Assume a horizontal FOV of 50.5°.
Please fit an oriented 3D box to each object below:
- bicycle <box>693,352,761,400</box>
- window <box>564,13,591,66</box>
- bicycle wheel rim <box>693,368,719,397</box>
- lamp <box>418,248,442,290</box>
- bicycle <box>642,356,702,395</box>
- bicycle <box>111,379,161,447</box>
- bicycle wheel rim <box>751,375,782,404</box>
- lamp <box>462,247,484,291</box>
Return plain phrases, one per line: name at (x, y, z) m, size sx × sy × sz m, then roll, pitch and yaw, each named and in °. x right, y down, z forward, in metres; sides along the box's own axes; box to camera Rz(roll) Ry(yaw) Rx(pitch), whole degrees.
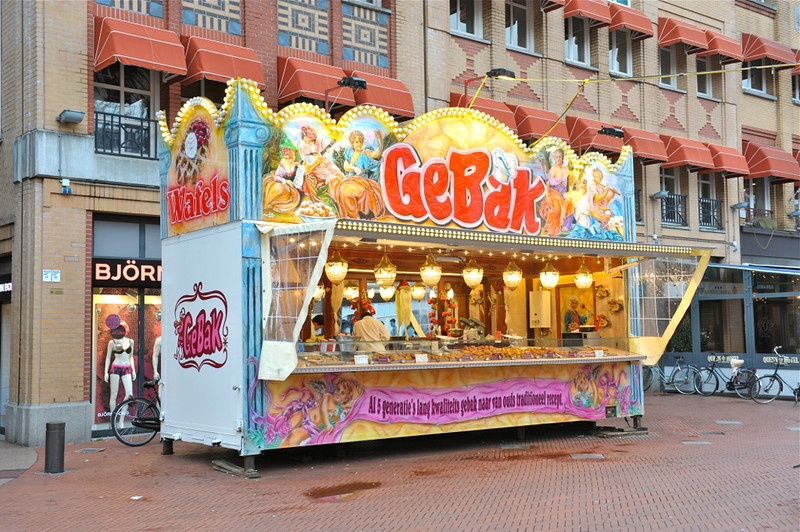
bicycle at (10.355, 3.522, 26.659) m, size 0.920 × 1.144 × 1.828 m, roll 6°, pitch -2°, yaw -42°
window at (5.756, -7.477, 27.871) m, size 1.683 × 1.932 × 0.134 m, roll 7°, pitch -13°, yaw -41°
bicycle wheel rim at (9.712, 3.710, 26.934) m, size 0.119 × 0.910 × 0.845 m, roll -2°, pitch 4°, yaw -37°
lamp at (0.820, 0.142, 19.808) m, size 0.665 × 1.026 × 0.684 m, roll 0°, pitch 1°, yaw 43°
bicycle at (8.910, 3.680, 27.794) m, size 1.666 × 1.035 × 0.848 m, roll 8°, pitch -2°, yaw 42°
bicycle at (-5.609, 3.319, 18.532) m, size 1.024 × 1.745 × 1.338 m, roll -8°, pitch -8°, yaw -34°
bicycle wheel rim at (10.765, 3.615, 25.137) m, size 0.968 × 0.734 × 0.786 m, roll 4°, pitch -6°, yaw -44°
lamp at (1.729, 0.179, 20.478) m, size 0.702 × 0.987 × 0.660 m, roll 0°, pitch 1°, yaw 3°
